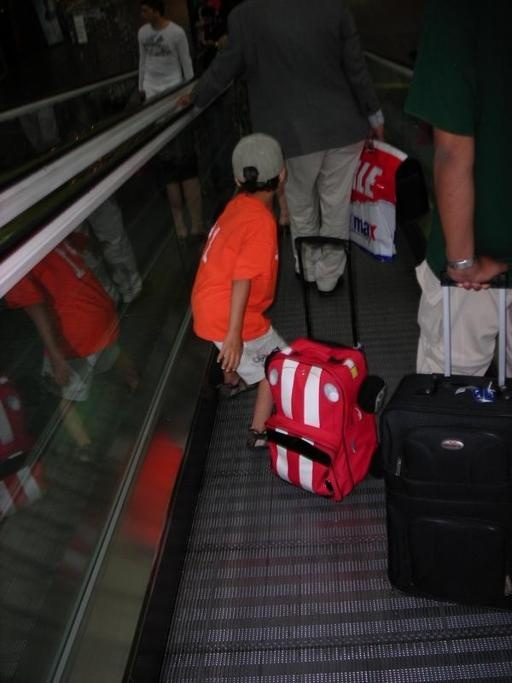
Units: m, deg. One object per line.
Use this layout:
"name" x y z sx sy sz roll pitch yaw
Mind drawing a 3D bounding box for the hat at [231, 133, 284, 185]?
"hat" 0.014 -0.698 1.697 0.183 0.151 0.267 9 40 15

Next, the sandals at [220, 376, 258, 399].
"sandals" -0.087 0.231 2.337 0.196 0.081 0.075 -10 34 -14

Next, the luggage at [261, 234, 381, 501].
"luggage" 0.192 0.112 1.567 0.409 0.940 0.339 28 51 37
